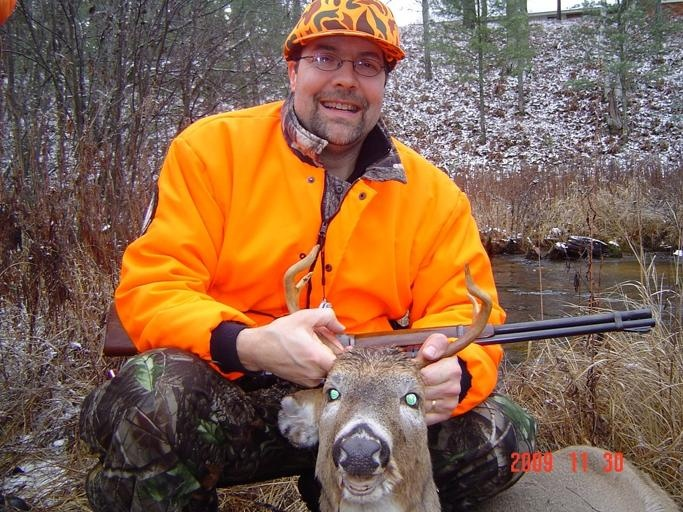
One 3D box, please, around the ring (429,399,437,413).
[{"bbox_3d":[0.497,0.812,3.345,0.017,0.061,0.061,7,-34,9],"label":"ring"}]
